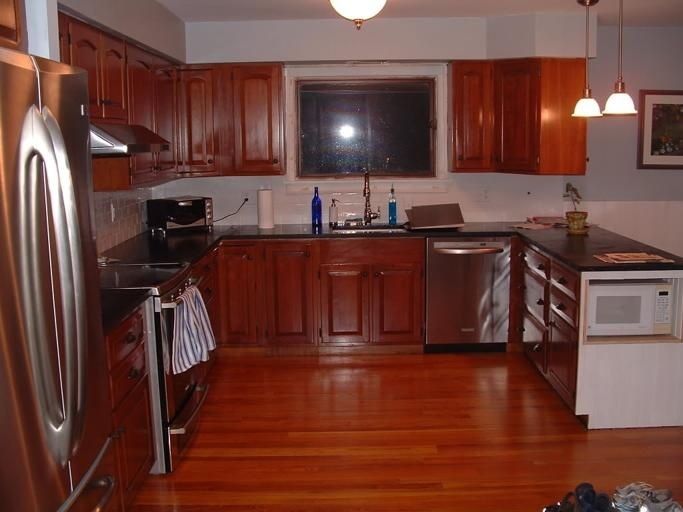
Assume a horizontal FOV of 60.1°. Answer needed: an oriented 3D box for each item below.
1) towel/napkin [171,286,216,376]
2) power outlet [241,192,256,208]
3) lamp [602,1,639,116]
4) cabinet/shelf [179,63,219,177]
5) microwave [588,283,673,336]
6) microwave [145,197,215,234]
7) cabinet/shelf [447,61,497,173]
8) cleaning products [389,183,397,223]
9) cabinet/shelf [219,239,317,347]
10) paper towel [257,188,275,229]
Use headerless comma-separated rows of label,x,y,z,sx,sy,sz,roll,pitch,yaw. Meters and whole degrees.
towel/napkin,-0.847,0.465,3.389,0.219,0.536,0.371,-3,12,-9
power outlet,-0.849,-0.518,5.404,0.151,0.139,0.018,-1,12,1
lamp,2.096,-1.468,4.368,0.216,0.828,2.051,4,14,26
cabinet/shelf,-1.216,-1.145,5.017,0.290,0.901,0.146,-1,12,3
microwave,1.744,0.318,3.592,0.512,0.354,0.316,-1,3,2
microwave,-1.332,-0.343,4.912,0.524,0.280,0.145,-7,13,-21
cabinet/shelf,1.128,-1.208,5.074,0.349,0.936,0.150,-2,12,-2
cleaning products,0.468,-0.473,5.368,0.081,0.334,0.090,-1,12,5
cabinet/shelf,-0.618,0.263,4.881,0.862,0.859,0.446,0,2,-2
paper towel,-0.667,-0.424,5.243,0.144,0.343,0.149,3,9,19
